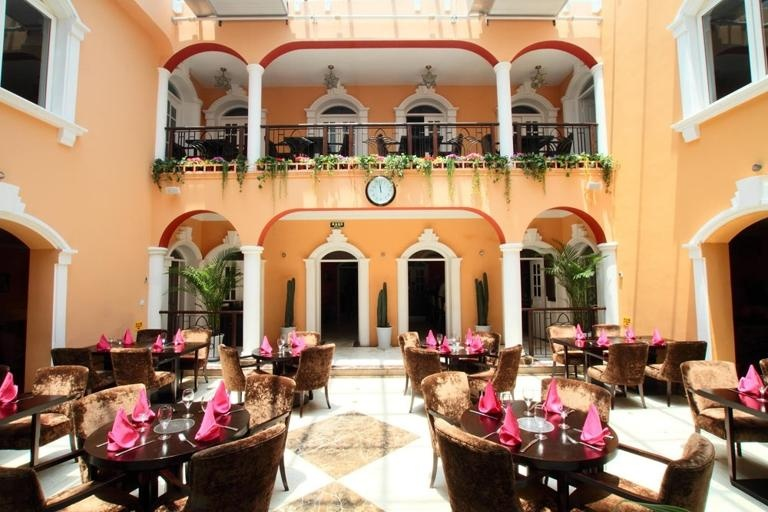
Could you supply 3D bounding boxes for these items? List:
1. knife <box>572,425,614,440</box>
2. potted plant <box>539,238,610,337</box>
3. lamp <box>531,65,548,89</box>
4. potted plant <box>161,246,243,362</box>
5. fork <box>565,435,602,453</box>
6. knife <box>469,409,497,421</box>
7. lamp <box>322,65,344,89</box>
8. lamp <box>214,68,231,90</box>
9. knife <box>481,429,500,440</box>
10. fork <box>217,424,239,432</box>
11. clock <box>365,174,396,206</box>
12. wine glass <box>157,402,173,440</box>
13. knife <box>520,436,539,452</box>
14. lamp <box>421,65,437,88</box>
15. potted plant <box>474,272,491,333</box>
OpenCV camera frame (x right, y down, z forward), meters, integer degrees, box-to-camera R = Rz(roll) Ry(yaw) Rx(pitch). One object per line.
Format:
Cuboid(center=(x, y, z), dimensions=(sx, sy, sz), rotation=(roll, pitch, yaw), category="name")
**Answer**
Cuboid(center=(2.726, 2.280, 7.241), dimensions=(0.315, 0.110, 0.241), rotation=(-4, 37, 4), category="knife")
Cuboid(center=(4.342, 0.742, 12.868), dimensions=(1.843, 2.279, 1.727), rotation=(-7, -14, 41), category="potted plant")
Cuboid(center=(3.834, -4.420, 14.126), dimensions=(0.474, 0.549, 0.460), rotation=(1, -14, 0), category="lamp")
Cuboid(center=(-3.912, 1.123, 12.882), dimensions=(1.968, 2.483, 2.093), rotation=(-1, -9, -26), category="potted plant")
Cuboid(center=(2.553, 2.391, 7.191), dimensions=(0.541, 0.062, 0.090), rotation=(12, 40, 41), category="fork")
Cuboid(center=(1.371, 2.166, 7.696), dimensions=(0.488, 0.026, 0.061), rotation=(9, 13, 9), category="knife")
Cuboid(center=(-1.299, -4.453, 14.248), dimensions=(0.395, 0.345, 0.847), rotation=(-1, -6, -2), category="lamp")
Cuboid(center=(-4.009, -4.435, 14.183), dimensions=(0.376, 0.466, 0.371), rotation=(4, 20, -6), category="lamp")
Cuboid(center=(1.397, 2.325, 7.352), dimensions=(0.077, 0.055, 0.545), rotation=(0, 1, 23), category="knife")
Cuboid(center=(-2.047, 2.284, 7.506), dimensions=(0.272, 0.070, 0.065), rotation=(-3, -7, 15), category="fork")
Cuboid(center=(-0.051, -1.354, 12.052), dimensions=(0.627, 0.616, 0.622), rotation=(2, -5, 0), category="clock")
Cuboid(center=(-2.894, 2.190, 7.476), dimensions=(0.147, 0.410, 0.235), rotation=(2, -7, -26), category="wine glass")
Cuboid(center=(1.866, 2.402, 7.206), dimensions=(0.315, 0.129, 0.069), rotation=(3, -8, -34), category="knife")
Cuboid(center=(1.137, -4.506, 14.264), dimensions=(0.385, 0.318, 0.339), rotation=(26, -42, -33), category="lamp")
Cuboid(center=(2.469, 1.115, 14.031), dimensions=(0.378, 1.435, 0.349), rotation=(-1, -7, 1), category="potted plant")
